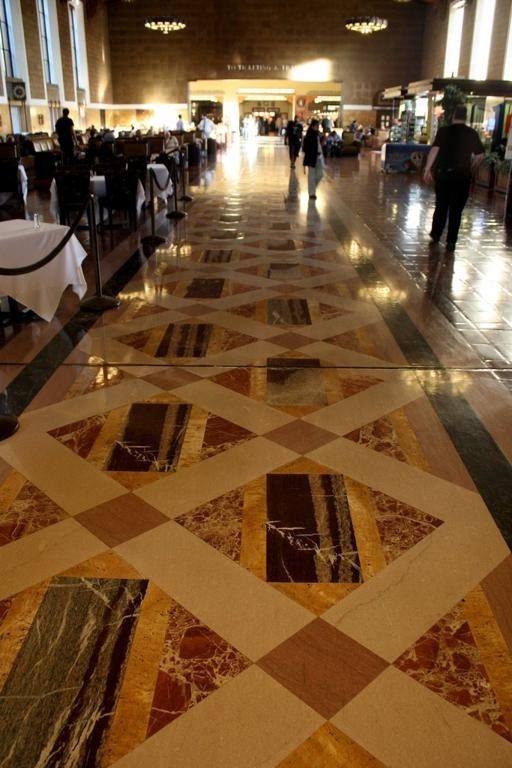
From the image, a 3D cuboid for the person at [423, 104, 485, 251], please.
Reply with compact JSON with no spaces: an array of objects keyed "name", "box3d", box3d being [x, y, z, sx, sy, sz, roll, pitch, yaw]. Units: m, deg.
[{"name":"person","box3d":[1.954,-2.040,5.008,0.501,1.309,0.670,8,26,17]}]
